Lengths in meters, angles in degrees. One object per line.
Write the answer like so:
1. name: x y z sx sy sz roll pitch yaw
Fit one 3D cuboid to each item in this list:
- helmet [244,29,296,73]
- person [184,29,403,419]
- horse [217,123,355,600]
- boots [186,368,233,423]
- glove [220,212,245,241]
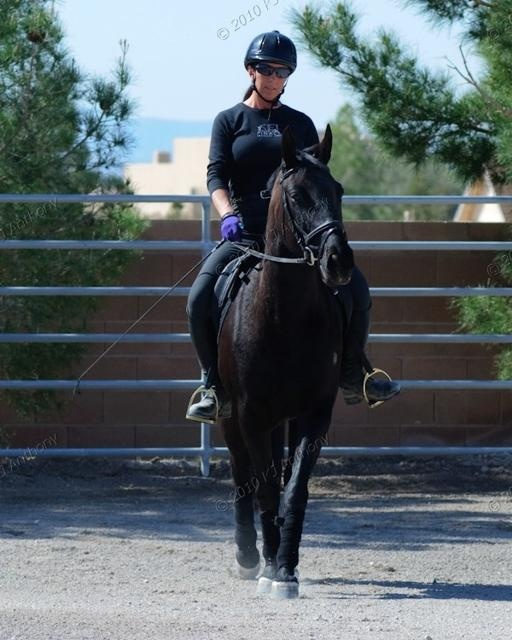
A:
1. helmet: 0.089 -1.558 9.775 0.285 0.233 0.157 0 8 -2
2. person: 0.107 -0.567 9.854 1.167 2.253 1.084 -4 2 -4
3. horse: 0.221 0.214 9.300 0.545 2.548 1.044 -3 8 -23
4. boots: -0.289 0.430 9.993 0.163 0.331 0.376 4 -3 8
5. glove: -0.132 -0.537 9.534 0.055 0.153 0.110 -6 -11 7
